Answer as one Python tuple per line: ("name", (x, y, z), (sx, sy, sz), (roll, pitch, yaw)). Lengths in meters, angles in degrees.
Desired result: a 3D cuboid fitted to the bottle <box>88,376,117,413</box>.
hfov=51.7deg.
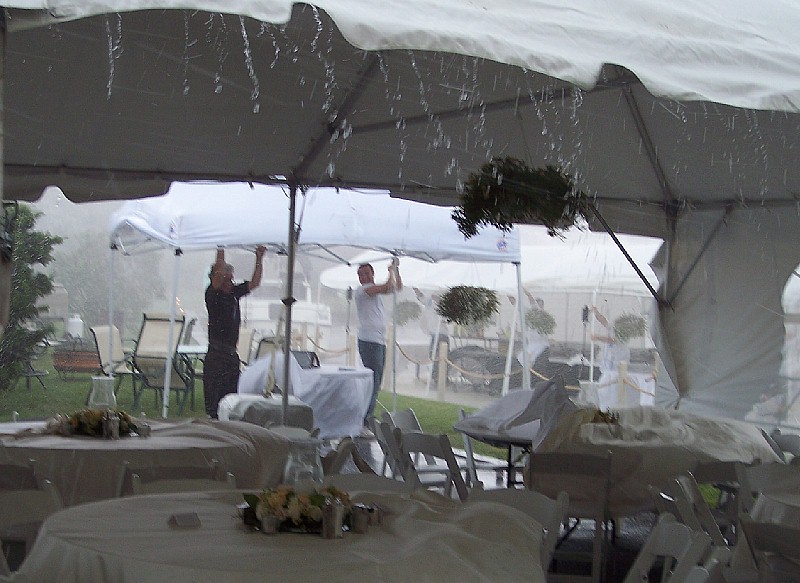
("bottle", (-1.673, 0.585, 4.691), (0.170, 0.206, 0.139), (1, -6, 9))
